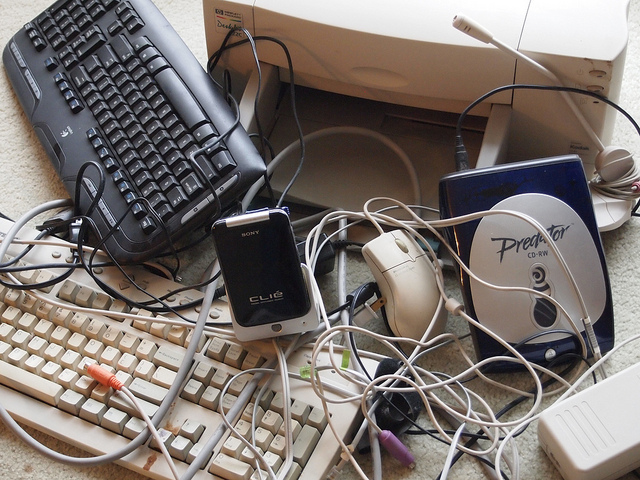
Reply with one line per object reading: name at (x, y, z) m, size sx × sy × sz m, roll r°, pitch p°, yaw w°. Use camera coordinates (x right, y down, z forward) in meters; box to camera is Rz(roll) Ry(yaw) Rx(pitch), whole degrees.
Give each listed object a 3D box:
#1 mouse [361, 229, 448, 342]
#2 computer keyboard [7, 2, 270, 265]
mouse at (0.102, 0.055, 0.759) m, size 0.076 × 0.039 × 0.148 m, roll -13°, pitch 83°, yaw -34°
computer keyboard at (-0.252, -0.074, 1.034) m, size 0.285 × 0.130 × 0.563 m, roll -28°, pitch 74°, yaw -17°
